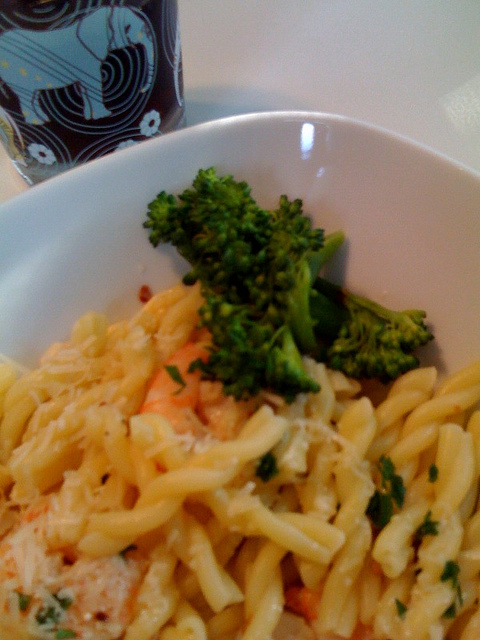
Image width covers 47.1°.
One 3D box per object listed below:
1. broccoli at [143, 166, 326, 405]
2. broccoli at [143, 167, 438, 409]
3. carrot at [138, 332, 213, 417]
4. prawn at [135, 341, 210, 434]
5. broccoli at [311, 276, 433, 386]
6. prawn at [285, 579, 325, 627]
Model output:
[{"bbox_3d":[0.001,-0.070,0.983,0.189,0.328,0.380,-9,51,-9],"label":"broccoli"},{"bbox_3d":[0.032,-0.021,1.012,0.545,0.227,0.387,14,70,11],"label":"broccoli"},{"bbox_3d":[-0.114,0.119,0.994,0.094,0.057,0.169,11,55,10],"label":"carrot"},{"bbox_3d":[-0.098,0.114,1.024,0.059,0.093,0.179,13,49,37],"label":"prawn"},{"bbox_3d":[0.235,0.043,1.073,0.245,0.144,0.161,18,46,17],"label":"broccoli"},{"bbox_3d":[0.116,0.473,0.930,0.022,0.080,0.072,1,53,-36],"label":"prawn"}]
